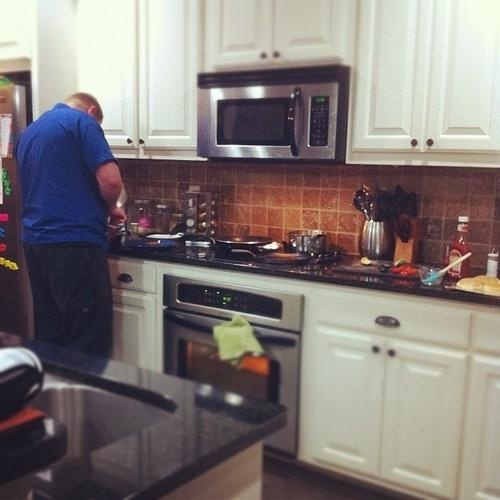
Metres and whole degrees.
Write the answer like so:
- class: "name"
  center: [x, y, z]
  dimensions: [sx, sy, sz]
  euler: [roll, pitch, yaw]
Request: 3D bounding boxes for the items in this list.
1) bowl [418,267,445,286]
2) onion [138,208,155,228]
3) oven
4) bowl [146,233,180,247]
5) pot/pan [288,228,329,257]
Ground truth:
- class: "bowl"
  center: [0.695, 0.102, 1.901]
  dimensions: [0.092, 0.061, 0.091]
  euler: [2, 7, 0]
- class: "onion"
  center: [-0.629, -0.194, 2.993]
  dimensions: [0.115, 0.121, 0.071]
  euler: [3, 2, 34]
- class: "oven"
  center: [-0.041, 0.603, 2.424]
  dimensions: [0.719, 0.563, 0.403]
  euler: [5, 4, 22]
- class: "bowl"
  center: [-0.488, -0.056, 2.763]
  dimensions: [0.198, 0.038, 0.406]
  euler: [1, 8, -6]
- class: "pot/pan"
  center: [0.276, -0.036, 2.408]
  dimensions: [0.133, 0.098, 0.146]
  euler: [1, 11, 8]
